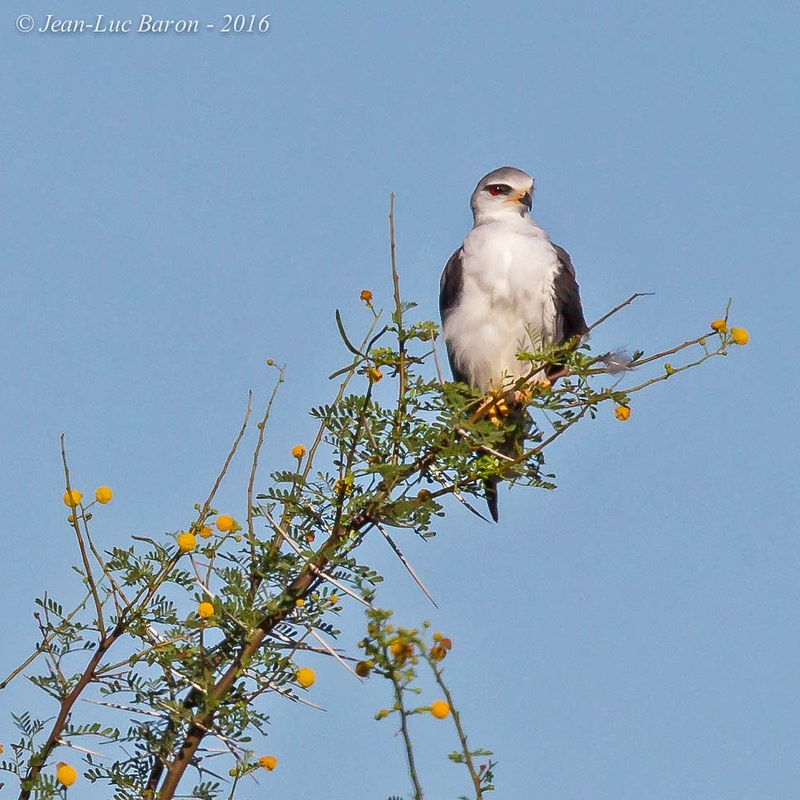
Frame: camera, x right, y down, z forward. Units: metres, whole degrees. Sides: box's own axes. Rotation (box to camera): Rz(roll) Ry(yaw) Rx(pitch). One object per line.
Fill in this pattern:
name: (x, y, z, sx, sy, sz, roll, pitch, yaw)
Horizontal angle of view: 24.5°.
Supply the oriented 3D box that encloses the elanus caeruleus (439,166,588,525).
elanus caeruleus: (0.518, -0.363, 8.337, 0.670, 2.597, 0.781, -1, -53, 1)
